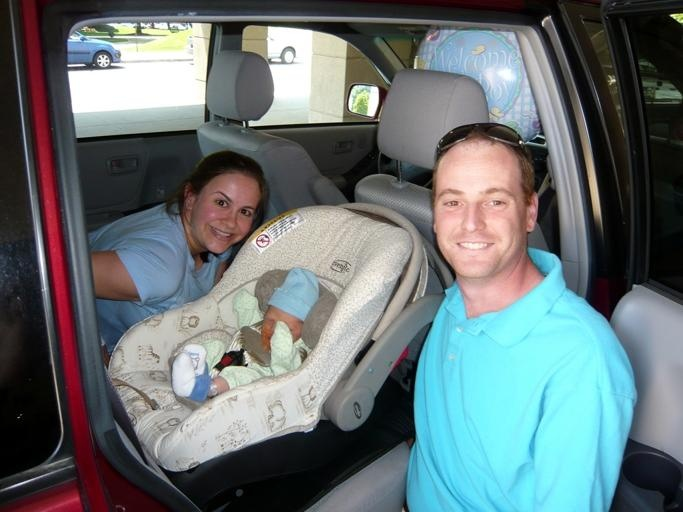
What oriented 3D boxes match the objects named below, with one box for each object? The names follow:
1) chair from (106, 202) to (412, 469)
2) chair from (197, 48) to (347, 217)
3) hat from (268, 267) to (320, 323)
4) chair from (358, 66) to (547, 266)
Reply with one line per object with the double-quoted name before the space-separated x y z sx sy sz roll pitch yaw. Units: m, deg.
"chair" -0.276 0.337 2.161 1.189 0.753 0.855 -13 24 -39
"chair" -0.489 -0.903 3.776 1.088 1.496 0.951 -11 20 -41
"hat" -0.192 0.164 2.277 0.174 0.093 0.251 16 57 7
"chair" 0.408 -0.450 2.398 0.666 0.992 0.823 11 17 37
